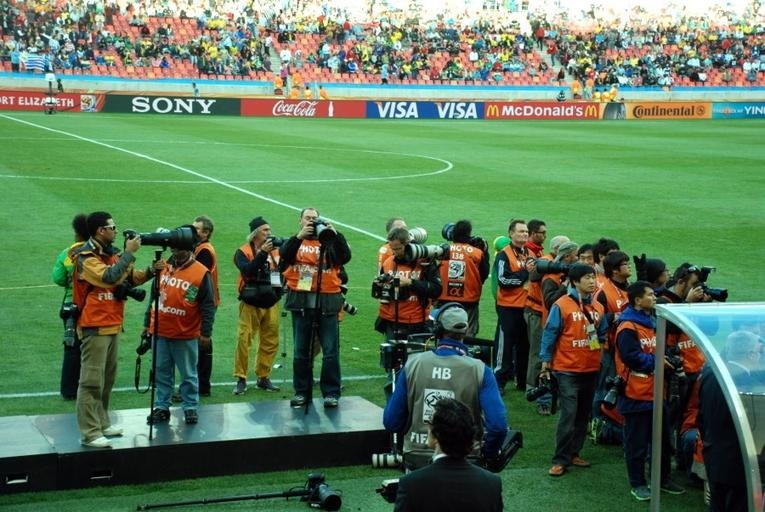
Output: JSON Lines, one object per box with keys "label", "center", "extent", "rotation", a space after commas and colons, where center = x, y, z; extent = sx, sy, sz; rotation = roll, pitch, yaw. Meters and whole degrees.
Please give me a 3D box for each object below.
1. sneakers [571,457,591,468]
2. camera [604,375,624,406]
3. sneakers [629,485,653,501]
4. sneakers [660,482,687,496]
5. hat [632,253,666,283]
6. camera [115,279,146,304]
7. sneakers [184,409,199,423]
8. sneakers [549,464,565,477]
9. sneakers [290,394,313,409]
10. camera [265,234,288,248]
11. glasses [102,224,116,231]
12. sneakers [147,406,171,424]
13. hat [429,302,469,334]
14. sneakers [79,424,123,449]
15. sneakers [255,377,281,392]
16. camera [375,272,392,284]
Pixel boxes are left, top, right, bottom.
{"label": "sneakers", "center": [2.655, 2.654, 12.060], "extent": [0.291, 0.111, 0.110], "rotation": [0, 5, 32]}
{"label": "camera", "center": [2.931, 1.640, 11.626], "extent": [0.234, 0.192, 0.378], "rotation": [0, 46, 34]}
{"label": "sneakers", "center": [3.229, 2.886, 11.407], "extent": [0.125, 0.090, 0.226], "rotation": [-2, -2, -32]}
{"label": "sneakers", "center": [3.656, 2.858, 11.550], "extent": [0.327, 0.121, 0.127], "rotation": [0, 3, 12]}
{"label": "hat", "center": [3.762, 0.158, 12.892], "extent": [0.535, 0.449, 0.325], "rotation": [-1, 9, -4]}
{"label": "camera", "center": [-3.172, 0.448, 11.728], "extent": [0.292, 0.163, 0.275], "rotation": [7, 7, -7]}
{"label": "sneakers", "center": [-2.479, 2.053, 12.059], "extent": [0.145, 0.142, 0.347], "rotation": [1, -7, -13]}
{"label": "sneakers", "center": [2.248, 2.690, 11.774], "extent": [0.124, 0.112, 0.279], "rotation": [-1, -9, 9]}
{"label": "sneakers", "center": [-1.091, 1.949, 12.575], "extent": [0.129, 0.143, 0.358], "rotation": [-2, -12, 29]}
{"label": "camera", "center": [-1.452, -0.195, 13.183], "extent": [0.219, 0.157, 0.266], "rotation": [17, -9, -42]}
{"label": "glasses", "center": [-3.463, -0.365, 11.769], "extent": [0.227, 0.067, 0.218], "rotation": [-1, 3, 14]}
{"label": "sneakers", "center": [-2.861, 2.045, 11.964], "extent": [0.388, 0.168, 0.135], "rotation": [5, -7, -38]}
{"label": "hat", "center": [0.754, 0.676, 10.275], "extent": [0.333, 0.235, 0.363], "rotation": [2, -3, -26]}
{"label": "sneakers", "center": [-3.449, 2.221, 11.460], "extent": [0.513, 0.189, 0.166], "rotation": [-3, 9, -5]}
{"label": "sneakers", "center": [-1.693, 1.887, 13.829], "extent": [0.404, 0.162, 0.155], "rotation": [3, 2, 4]}
{"label": "camera", "center": [0.036, 0.302, 12.741], "extent": [0.183, 0.066, 0.127], "rotation": [-13, 23, -14]}
